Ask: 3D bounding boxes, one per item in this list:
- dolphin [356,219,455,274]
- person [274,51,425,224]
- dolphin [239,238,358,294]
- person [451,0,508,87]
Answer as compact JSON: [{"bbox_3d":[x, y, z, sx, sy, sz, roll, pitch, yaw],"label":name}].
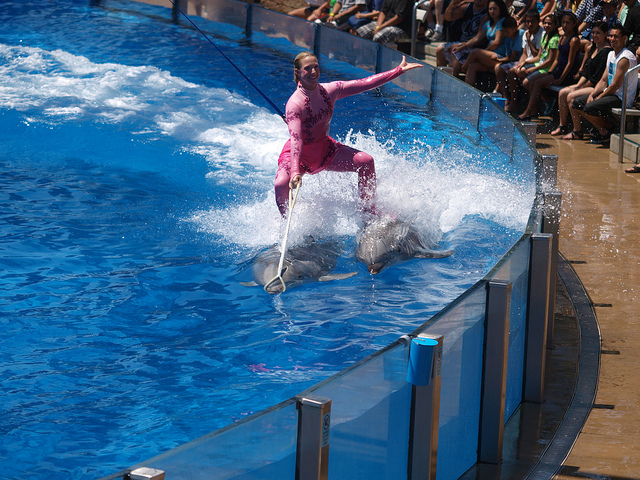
[{"bbox_3d":[0.808,0.068,7.833,0.984,0.414,0.677,-5,20,-26],"label":"dolphin"},{"bbox_3d":[0.226,-1.086,7.832,1.416,1.820,1.071,-2,24,-18],"label":"person"},{"bbox_3d":[-0.223,0.305,7.573,1.155,0.354,0.745,-3,18,-21],"label":"dolphin"},{"bbox_3d":[3.093,-3.673,13.501,0.631,1.558,0.809,3,24,-9],"label":"person"}]
